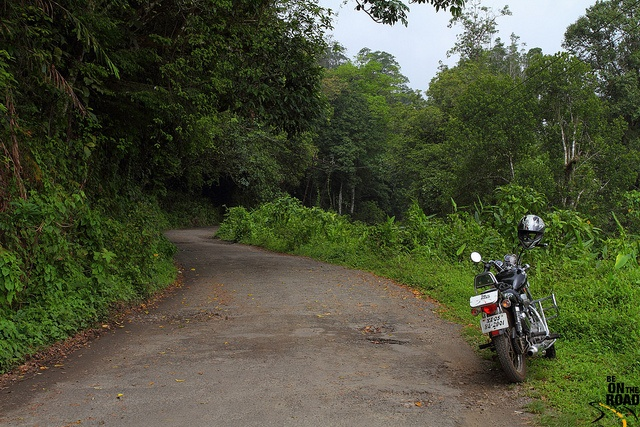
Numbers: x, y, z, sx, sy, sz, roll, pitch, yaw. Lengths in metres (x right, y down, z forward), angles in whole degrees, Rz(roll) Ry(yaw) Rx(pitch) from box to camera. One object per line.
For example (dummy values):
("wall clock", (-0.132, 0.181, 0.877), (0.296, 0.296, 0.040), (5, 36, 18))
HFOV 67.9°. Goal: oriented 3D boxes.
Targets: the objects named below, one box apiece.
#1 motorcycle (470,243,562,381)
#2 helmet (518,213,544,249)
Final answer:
("motorcycle", (3.155, 1.687, 7.939), (1.497, 1.850, 1.002), (-6, 12, -36))
("helmet", (3.745, 0.281, 8.475), (0.453, 0.558, 0.594), (5, 15, 33))
